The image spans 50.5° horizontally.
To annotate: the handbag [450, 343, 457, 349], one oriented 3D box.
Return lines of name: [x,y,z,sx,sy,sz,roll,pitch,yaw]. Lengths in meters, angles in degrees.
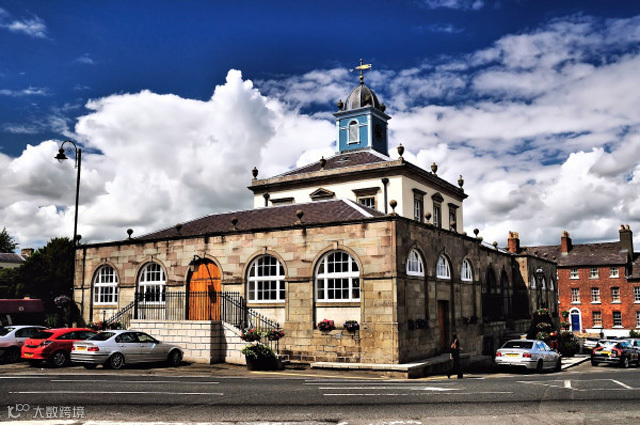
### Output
handbag: [7.511,7.438,38.178,0.277,0.196,0.299,8,-14,-42]

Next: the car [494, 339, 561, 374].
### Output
car: [12.368,8.412,40.295,3.940,1.917,1.584,8,-16,-35]

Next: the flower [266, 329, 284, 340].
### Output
flower: [-2.589,7.060,39.219,0.680,0.395,0.698,-4,-16,18]

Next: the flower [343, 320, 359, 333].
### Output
flower: [1.743,6.342,38.202,0.683,0.529,0.686,9,-18,-16]

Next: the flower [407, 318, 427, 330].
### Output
flower: [5.572,6.350,38.959,0.694,0.467,0.921,-2,-7,21]

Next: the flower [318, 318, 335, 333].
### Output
flower: [0.339,6.419,38.719,0.740,0.631,0.755,2,-14,4]
